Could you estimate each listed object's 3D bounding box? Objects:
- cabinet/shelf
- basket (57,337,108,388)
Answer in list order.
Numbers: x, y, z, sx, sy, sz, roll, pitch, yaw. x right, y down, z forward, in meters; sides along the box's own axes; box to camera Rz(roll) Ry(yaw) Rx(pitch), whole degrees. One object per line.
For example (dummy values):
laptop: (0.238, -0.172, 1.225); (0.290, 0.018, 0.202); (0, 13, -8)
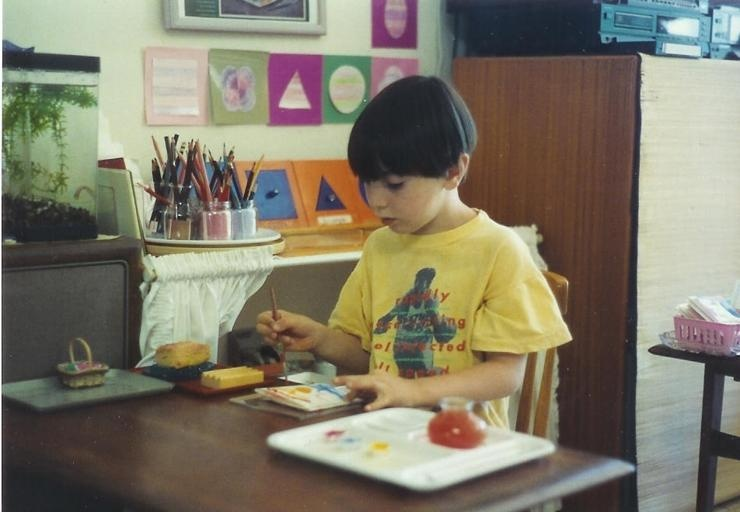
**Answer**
cabinet/shelf: (-0.685, 0.115, 1.485); (0.330, 0.314, 0.113); (1, 0, -31)
basket: (-0.553, 0.202, 1.258); (0.082, 0.090, 0.101); (-5, 4, -38)
